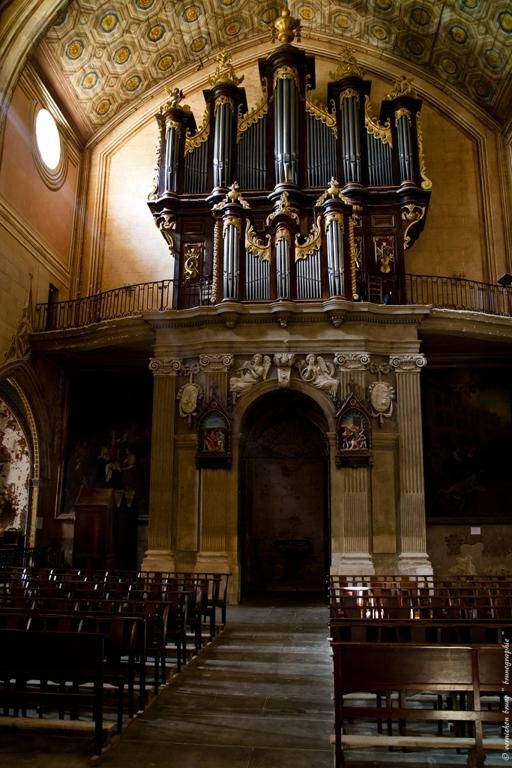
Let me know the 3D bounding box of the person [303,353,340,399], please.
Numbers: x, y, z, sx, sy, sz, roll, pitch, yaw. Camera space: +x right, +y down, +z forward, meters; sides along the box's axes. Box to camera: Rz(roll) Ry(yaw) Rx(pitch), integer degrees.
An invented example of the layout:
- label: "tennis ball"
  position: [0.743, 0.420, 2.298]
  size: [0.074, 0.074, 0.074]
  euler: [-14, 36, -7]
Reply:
- label: "person"
  position: [1.357, -0.144, 12.793]
  size: [0.650, 0.810, 0.422]
  euler: [-26, 2, -16]
